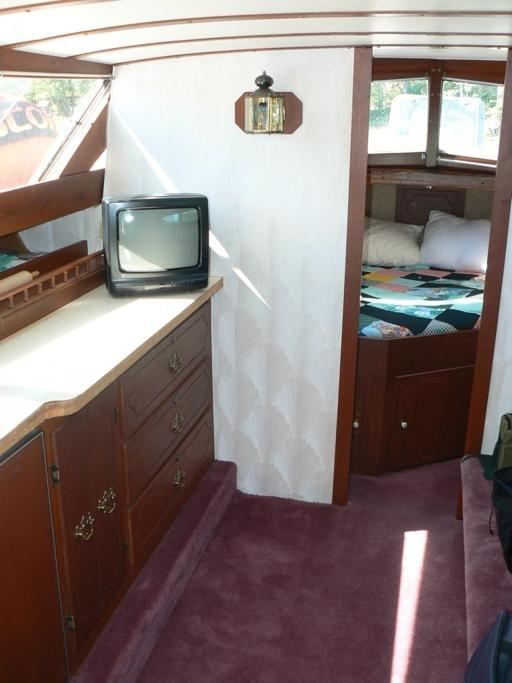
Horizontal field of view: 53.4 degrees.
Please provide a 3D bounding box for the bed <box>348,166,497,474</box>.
[{"bbox_3d":[1.005,-0.201,3.071,0.796,1.571,1.343,6,21,11],"label":"bed"}]

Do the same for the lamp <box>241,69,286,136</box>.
[{"bbox_3d":[0.025,-0.922,1.973,0.165,0.218,0.149,4,20,8],"label":"lamp"}]
